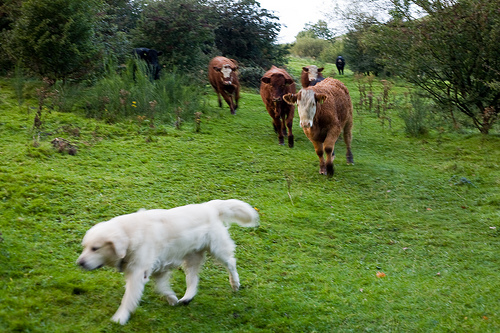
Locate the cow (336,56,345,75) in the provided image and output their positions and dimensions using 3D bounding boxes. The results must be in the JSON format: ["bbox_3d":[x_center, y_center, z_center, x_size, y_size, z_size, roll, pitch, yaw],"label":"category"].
[{"bbox_3d":[6.297,-6.981,31.475,0.446,1.252,1.704,2,8,15],"label":"cow"}]

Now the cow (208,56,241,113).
[{"bbox_3d":[-0.963,-3.222,17.791,0.999,2.217,2.116,-1,7,-9],"label":"cow"}]

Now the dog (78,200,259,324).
[{"bbox_3d":[-1.202,1.439,7.396,3.109,1.528,0.873,-5,3,-39],"label":"dog"}]

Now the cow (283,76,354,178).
[{"bbox_3d":[2.087,-1.096,12.645,1.224,2.528,2.238,2,8,18],"label":"cow"}]
